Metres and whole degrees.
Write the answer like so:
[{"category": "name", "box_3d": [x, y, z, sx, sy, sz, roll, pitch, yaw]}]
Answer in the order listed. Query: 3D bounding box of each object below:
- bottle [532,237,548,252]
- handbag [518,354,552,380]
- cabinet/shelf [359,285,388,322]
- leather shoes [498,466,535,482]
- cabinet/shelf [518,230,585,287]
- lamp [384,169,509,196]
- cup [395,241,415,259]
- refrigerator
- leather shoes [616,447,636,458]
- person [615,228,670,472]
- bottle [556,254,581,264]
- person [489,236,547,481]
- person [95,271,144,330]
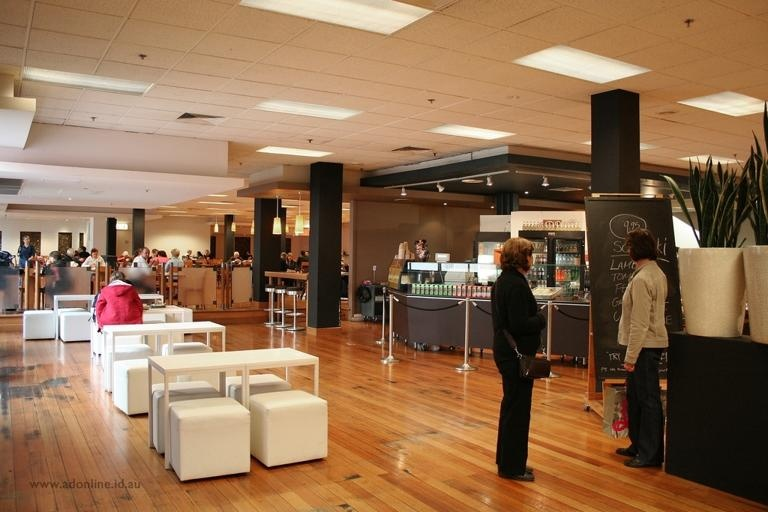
[{"category": "bottle", "box_3d": [3.136, -0.225, 11.278, 0.316, 0.340, 0.380, 1, 0, -14]}, {"category": "handbag", "box_3d": [1.410, 1.043, 5.224, 0.396, 0.247, 0.195, 2, 1, -12]}, {"category": "cabinet/shelf", "box_3d": [-0.358, 1.271, 15.103, 0.337, 1.042, 0.821, -3, 6, -40]}, {"category": "leather shoes", "box_3d": [1.296, 2.146, 5.535, 0.363, 0.128, 0.127, -1, 2, 1]}, {"category": "cabinet/shelf", "box_3d": [3.054, 0.069, 9.963, 1.204, 1.654, 0.540, 0, -2, 28]}, {"category": "lamp", "box_3d": [1.836, -1.762, 13.564, 1.759, 0.369, 3.802, -2, 5, -36]}, {"category": "cup", "box_3d": [0.499, -0.138, 14.310, 0.361, 0.454, 0.502, -3, -5, 28]}, {"category": "refrigerator", "box_3d": [3.035, 0.094, 9.913, 1.059, 1.522, 0.491, 7, -10, -23]}, {"category": "leather shoes", "box_3d": [2.597, 2.115, 6.059, 0.080, 0.078, 0.218, 5, -4, -41]}, {"category": "person", "box_3d": [2.667, 0.958, 5.773, 0.486, 2.449, 0.428, 3, 5, 22]}, {"category": "bottle", "box_3d": [3.760, 0.007, 11.483, 0.452, 0.198, 0.249, -2, -4, 40]}, {"category": "person", "box_3d": [1.269, 1.014, 5.471, 0.527, 2.368, 0.391, 3, 5, 26]}, {"category": "person", "box_3d": [-4.022, 0.677, 8.582, 0.670, 0.845, 0.556, -1, 9, -20]}]
